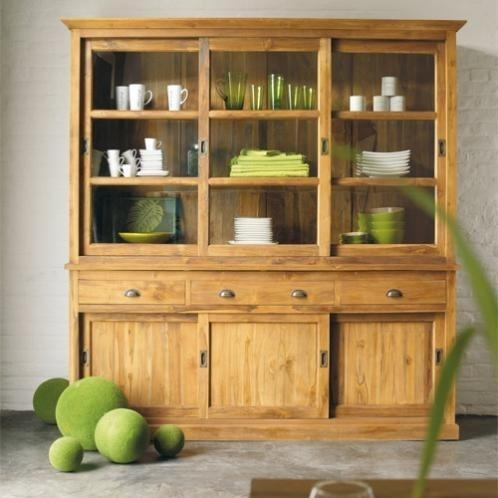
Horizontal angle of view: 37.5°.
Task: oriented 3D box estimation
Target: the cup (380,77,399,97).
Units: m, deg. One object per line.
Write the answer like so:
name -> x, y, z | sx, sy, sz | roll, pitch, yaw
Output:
cup -> 0.699, -0.803, 3.646 | 0.090, 0.093, 0.097 | 0, 5, 0

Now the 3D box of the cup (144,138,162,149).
cup -> -0.482, -0.520, 3.659 | 0.082, 0.056, 0.051 | 1, 0, -28

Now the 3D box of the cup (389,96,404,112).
cup -> 0.747, -0.719, 3.653 | 0.081, 0.074, 0.070 | 0, 0, 1

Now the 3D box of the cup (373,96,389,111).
cup -> 0.659, -0.719, 3.648 | 0.080, 0.072, 0.068 | -2, 6, -17

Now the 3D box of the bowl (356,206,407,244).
bowl -> 0.667, -0.118, 3.585 | 0.212, 0.145, 0.179 | 0, 3, 8

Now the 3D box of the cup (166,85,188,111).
cup -> -0.357, -0.754, 3.651 | 0.145, 0.130, 0.089 | 3, 9, 17

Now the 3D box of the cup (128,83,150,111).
cup -> -0.543, -0.756, 3.711 | 0.147, 0.126, 0.092 | -2, 5, -17

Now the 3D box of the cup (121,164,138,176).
cup -> -0.601, -0.390, 3.659 | 0.050, 0.052, 0.074 | 0, -3, 1

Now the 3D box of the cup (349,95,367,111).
cup -> 0.547, -0.719, 3.639 | 0.078, 0.068, 0.072 | 0, 6, 0

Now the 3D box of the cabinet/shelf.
cabinet/shelf -> 0.081, -0.078, 3.565 | 2.236, 2.011, 0.615 | 0, -3, 0

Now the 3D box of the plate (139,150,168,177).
plate -> -0.481, -0.428, 3.724 | 0.119, 0.126, 0.186 | -1, 4, 0

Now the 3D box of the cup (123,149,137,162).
cup -> -0.590, -0.464, 3.663 | 0.076, 0.068, 0.049 | -17, 15, -10

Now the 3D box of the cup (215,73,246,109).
cup -> -0.106, -0.786, 3.662 | 0.197, 0.179, 0.124 | -9, 12, -40
